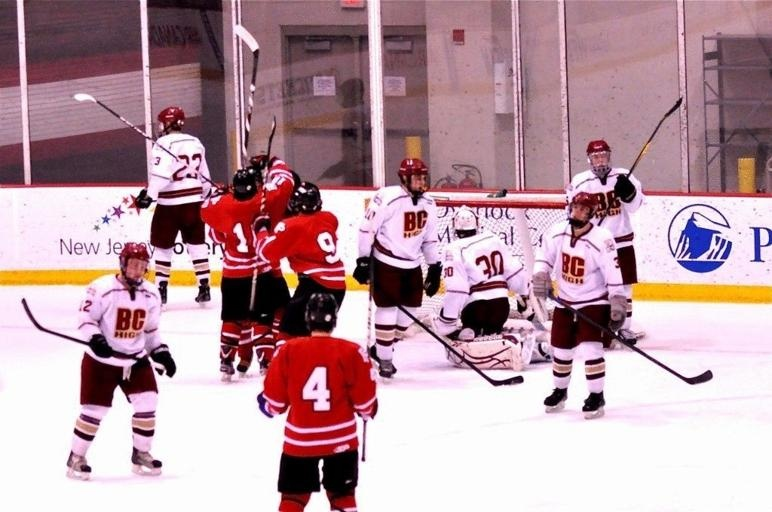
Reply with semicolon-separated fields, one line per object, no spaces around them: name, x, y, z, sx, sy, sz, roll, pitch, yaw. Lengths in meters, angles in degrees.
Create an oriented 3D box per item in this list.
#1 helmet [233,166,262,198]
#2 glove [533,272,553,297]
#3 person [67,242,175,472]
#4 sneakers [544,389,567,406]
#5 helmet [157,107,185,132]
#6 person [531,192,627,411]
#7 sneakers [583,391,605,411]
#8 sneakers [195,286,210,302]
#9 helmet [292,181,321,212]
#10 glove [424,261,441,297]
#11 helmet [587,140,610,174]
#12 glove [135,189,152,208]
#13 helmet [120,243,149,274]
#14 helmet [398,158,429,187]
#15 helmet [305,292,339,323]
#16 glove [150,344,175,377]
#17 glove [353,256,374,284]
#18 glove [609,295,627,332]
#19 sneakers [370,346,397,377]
helmet;-1.140;-0.607;8.328;0.208;0.193;0.261;4;17;27
glove;1.188;0.206;7.790;0.188;0.223;0.136;-4;5;-10
person;-1.781;0.698;6.840;0.690;1.571;0.242;-2;6;-20
sneakers;1.306;1.075;7.830;0.079;0.096;0.244;32;28;35
helmet;-2.237;-1.440;10.643;0.322;0.280;0.242;12;18;25
person;1.457;0.359;7.763;0.695;1.690;0.321;1;5;11
sneakers;1.575;1.090;7.734;0.183;0.151;0.127;0;5;-1
sneakers;-1.931;0.401;10.838;0.201;0.182;0.117;-1;3;4
helmet;-0.623;-0.451;7.872;0.235;0.225;0.227;0;5;-4
glove;0.416;0.189;8.982;0.085;0.263;0.202;19;15;1
helmet;1.979;-0.946;9.475;0.256;0.317;0.337;-7;13;14
glove;-2.503;-0.605;10.531;0.160;0.192;0.274;-2;5;-22
helmet;-1.704;0.000;6.853;0.206;0.184;0.195;-2;-3;44
helmet;0.231;-0.707;8.587;0.279;0.245;0.234;2;8;8
helmet;-0.375;0.301;5.998;0.163;0.157;0.178;1;16;2
glove;-1.468;0.730;6.918;0.096;0.231;0.167;-29;40;-15
glove;-0.185;0.104;8.529;0.159;0.227;0.149;0;5;-3
glove;1.738;0.407;7.642;0.150;0.229;0.117;5;-5;13
sneakers;-0.046;0.899;8.646;0.161;0.304;0.133;-32;-1;13
